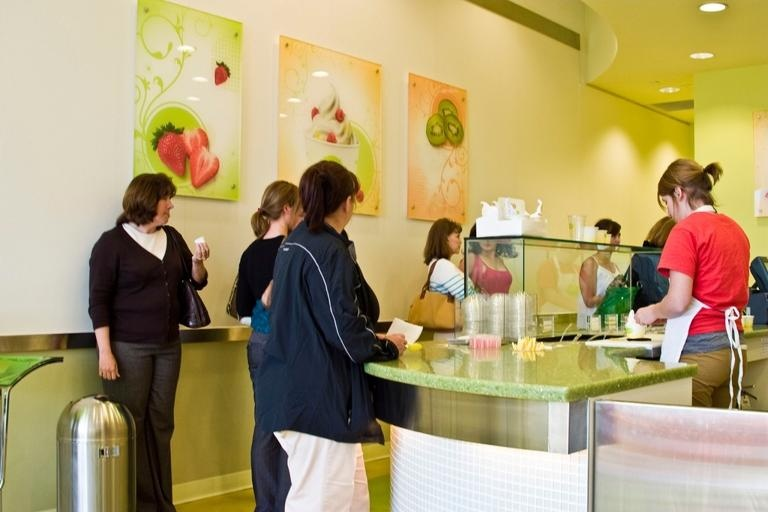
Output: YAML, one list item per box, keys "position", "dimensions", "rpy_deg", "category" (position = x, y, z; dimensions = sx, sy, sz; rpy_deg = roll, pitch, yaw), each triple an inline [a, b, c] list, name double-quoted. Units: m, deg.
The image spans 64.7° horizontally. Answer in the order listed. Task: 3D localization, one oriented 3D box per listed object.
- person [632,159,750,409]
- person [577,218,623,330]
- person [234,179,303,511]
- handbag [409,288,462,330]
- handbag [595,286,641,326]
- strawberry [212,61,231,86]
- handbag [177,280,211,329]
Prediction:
- position: [1.778, 0.133, 3.556]
  dimensions: [0.487, 1.643, 0.537]
  rpy_deg: [2, -2, -38]
  category: "person"
- position: [1.517, 0.152, 4.274]
  dimensions: [0.387, 0.898, 0.359]
  rpy_deg: [3, 6, 33]
  category: "person"
- position: [-0.797, 0.550, 3.997]
  dimensions: [0.464, 1.994, 0.569]
  rpy_deg: [2, 5, -15]
  category: "person"
- position: [0.408, 0.420, 4.782]
  dimensions: [0.310, 0.329, 0.290]
  rpy_deg: [5, 4, 40]
  category: "handbag"
- position: [1.656, 0.326, 4.295]
  dimensions: [0.270, 0.278, 0.063]
  rpy_deg: [0, 15, -37]
  category: "handbag"
- position: [-1.217, -1.366, 4.563]
  dimensions: [0.130, 0.154, 0.152]
  rpy_deg: [7, 16, -25]
  category: "strawberry"
- position: [-1.319, 0.333, 4.177]
  dimensions: [0.149, 0.321, 0.309]
  rpy_deg: [-11, -2, -16]
  category: "handbag"
